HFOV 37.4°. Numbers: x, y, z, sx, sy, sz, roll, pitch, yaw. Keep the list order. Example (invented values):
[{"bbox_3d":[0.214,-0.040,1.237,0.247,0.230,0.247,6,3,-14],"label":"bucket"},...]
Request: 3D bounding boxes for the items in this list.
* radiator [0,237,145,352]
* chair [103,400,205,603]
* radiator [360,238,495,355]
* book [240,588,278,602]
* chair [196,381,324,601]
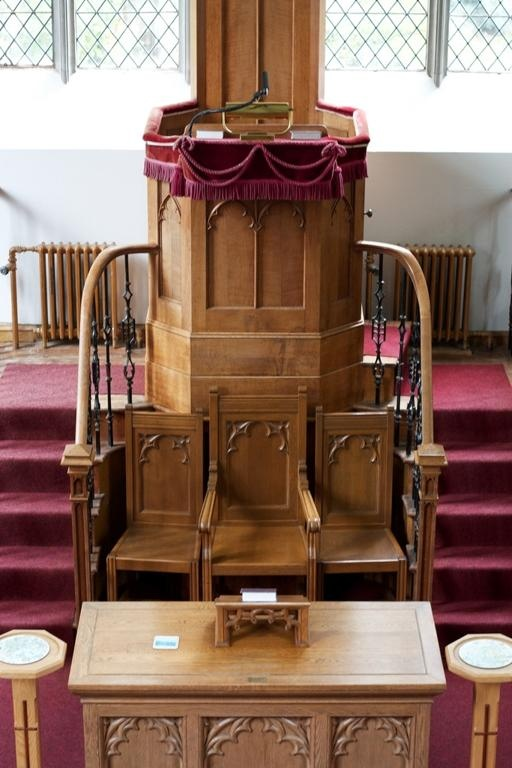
[{"bbox_3d":[-1.394,-0.699,5.665,0.791,0.874,0.153,1,12,3],"label":"radiator"},{"bbox_3d":[-0.502,0.568,3.781,0.485,0.884,0.543,-2,6,-4],"label":"chair"},{"bbox_3d":[1.528,-0.721,6.055,0.866,1.112,0.229,0,9,2],"label":"radiator"},{"bbox_3d":[0.009,0.672,2.403,0.095,0.029,0.108,0,-1,-2],"label":"book"},{"bbox_3d":[0.007,0.542,3.747,0.539,0.994,0.723,-2,6,0],"label":"chair"}]
